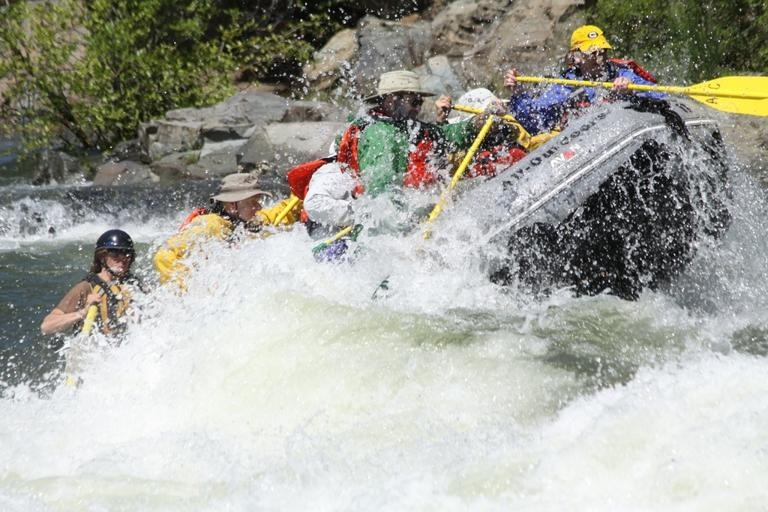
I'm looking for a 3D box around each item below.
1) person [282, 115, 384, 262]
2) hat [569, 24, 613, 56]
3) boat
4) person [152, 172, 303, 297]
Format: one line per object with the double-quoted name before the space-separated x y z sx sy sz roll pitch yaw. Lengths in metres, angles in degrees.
"person" -0.612 -0.805 11.614 1.085 1.247 1.190 -3 32 18
"hat" 2.616 -2.766 12.651 0.391 0.287 0.514 -9 11 -33
"boat" 2.677 -0.573 10.840 2.981 1.703 1.040 -31 7 -10
"person" -1.920 -0.404 11.661 1.957 0.906 0.573 -33 35 -30
